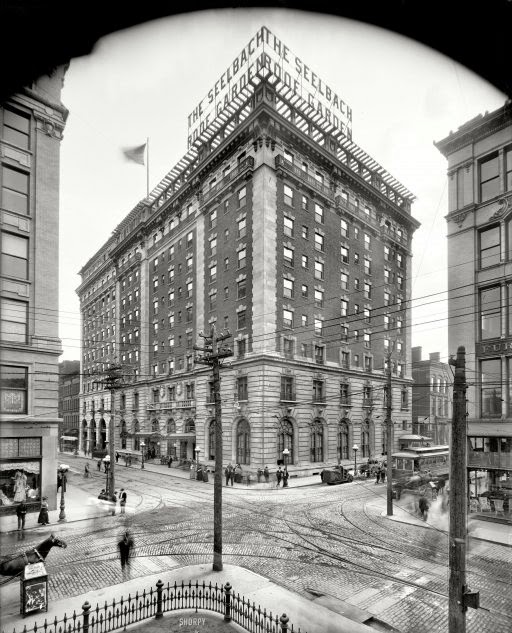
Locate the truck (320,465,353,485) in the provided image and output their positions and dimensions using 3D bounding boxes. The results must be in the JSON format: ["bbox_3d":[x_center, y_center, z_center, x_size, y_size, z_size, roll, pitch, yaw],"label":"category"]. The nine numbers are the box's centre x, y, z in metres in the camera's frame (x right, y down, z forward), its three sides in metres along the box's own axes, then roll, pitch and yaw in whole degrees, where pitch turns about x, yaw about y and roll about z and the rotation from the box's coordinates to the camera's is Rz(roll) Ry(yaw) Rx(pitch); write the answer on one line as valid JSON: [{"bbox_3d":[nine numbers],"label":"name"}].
[{"bbox_3d":[4.533,8.952,52.568,0.724,1.216,2.129,-2,-5,41],"label":"truck"}]

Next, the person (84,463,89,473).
[{"bbox_3d":[-10.411,9.609,58.386,0.194,0.554,0.813,1,1,-11],"label":"person"}]

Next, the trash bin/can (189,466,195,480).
[{"bbox_3d":[-3.712,9.517,56.253,0.392,1.126,0.460,-2,-4,13],"label":"trash bin/can"}]

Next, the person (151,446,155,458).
[{"bbox_3d":[-7.781,10.601,72.252,0.323,0.622,1.370,1,1,-9],"label":"person"}]

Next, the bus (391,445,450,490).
[{"bbox_3d":[8.771,8.068,50.147,2.739,1.740,6.334,2,0,23],"label":"bus"}]

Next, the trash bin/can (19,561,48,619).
[{"bbox_3d":[-6.322,7.966,27.010,0.753,1.327,0.559,1,1,-17],"label":"trash bin/can"}]
